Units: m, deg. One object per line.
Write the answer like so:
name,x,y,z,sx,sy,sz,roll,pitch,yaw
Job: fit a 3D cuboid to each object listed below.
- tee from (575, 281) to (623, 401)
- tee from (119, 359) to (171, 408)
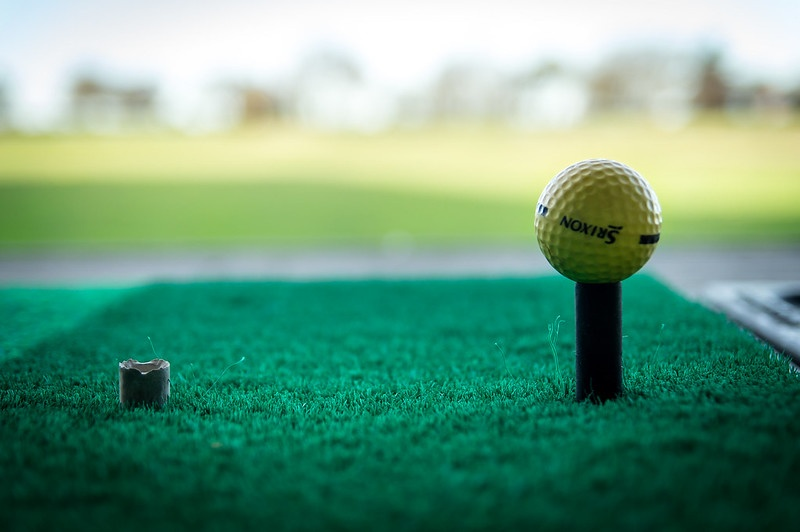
tee,1.206,0.452,5.012,0.293,0.696,0.245,2,15,11
tee,-1.567,0.702,5.071,0.290,0.233,0.286,2,-1,6
